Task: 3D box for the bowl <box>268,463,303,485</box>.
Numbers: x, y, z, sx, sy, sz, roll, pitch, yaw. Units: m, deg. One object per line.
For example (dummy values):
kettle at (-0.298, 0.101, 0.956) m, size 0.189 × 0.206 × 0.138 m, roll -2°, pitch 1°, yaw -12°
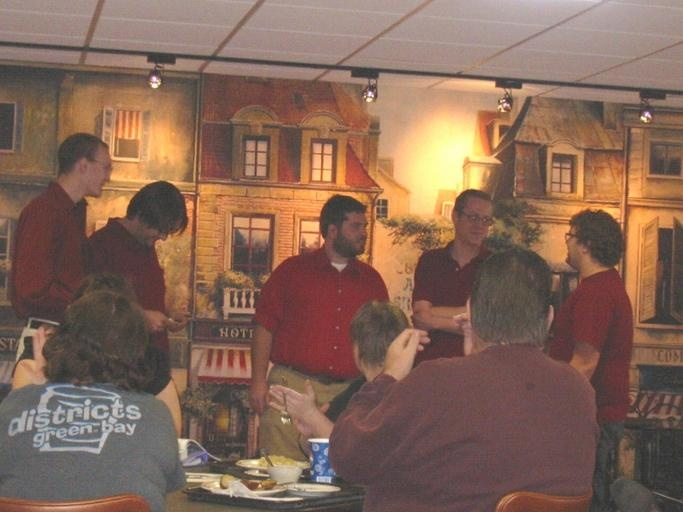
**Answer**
bowl at (-0.309, 1.185, 6.165) m, size 0.119 × 0.078 × 0.120 m, roll 0°, pitch 0°, yaw 0°
